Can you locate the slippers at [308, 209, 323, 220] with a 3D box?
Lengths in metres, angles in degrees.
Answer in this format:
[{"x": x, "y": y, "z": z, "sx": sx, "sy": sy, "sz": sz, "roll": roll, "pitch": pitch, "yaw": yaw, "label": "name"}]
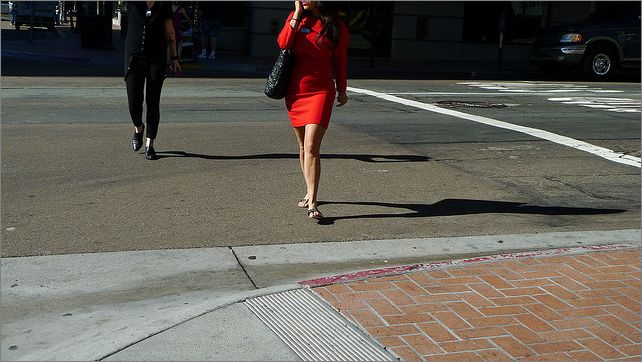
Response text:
[{"x": -0.074, "y": 0.410, "z": 6.077, "sx": 0.210, "sy": 0.069, "sz": 0.371, "roll": 0, "pitch": -1, "yaw": -5, "label": "slippers"}]
